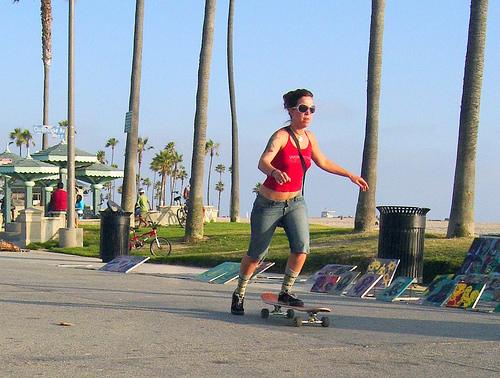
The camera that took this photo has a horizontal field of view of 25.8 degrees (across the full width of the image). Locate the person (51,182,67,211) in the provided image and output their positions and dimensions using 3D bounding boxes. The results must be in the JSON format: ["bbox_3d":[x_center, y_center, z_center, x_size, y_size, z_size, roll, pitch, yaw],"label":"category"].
[{"bbox_3d":[-6.223,0.228,35.597,0.505,0.871,1.057,5,-2,-10],"label":"person"}]

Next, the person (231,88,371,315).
[{"bbox_3d":[0.598,0.240,18.897,1.575,3.387,1.051,4,-1,0],"label":"person"}]

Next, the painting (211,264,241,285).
[{"bbox_3d":[-0.530,1.837,23.453,0.551,0.370,0.919,4,-2,-1],"label":"painting"}]

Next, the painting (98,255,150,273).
[{"bbox_3d":[-2.999,1.712,25.398,0.859,0.363,1.391,5,-2,-26],"label":"painting"}]

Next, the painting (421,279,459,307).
[{"bbox_3d":[3.752,2.057,21.547,0.651,0.117,1.111,-3,28,45],"label":"painting"}]

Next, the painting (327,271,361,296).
[{"bbox_3d":[1.956,1.951,22.736,0.569,0.427,0.860,4,-2,24],"label":"painting"}]

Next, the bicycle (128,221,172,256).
[{"bbox_3d":[-3.174,1.474,32.156,1.736,1.003,0.815,3,-7,10],"label":"bicycle"}]
